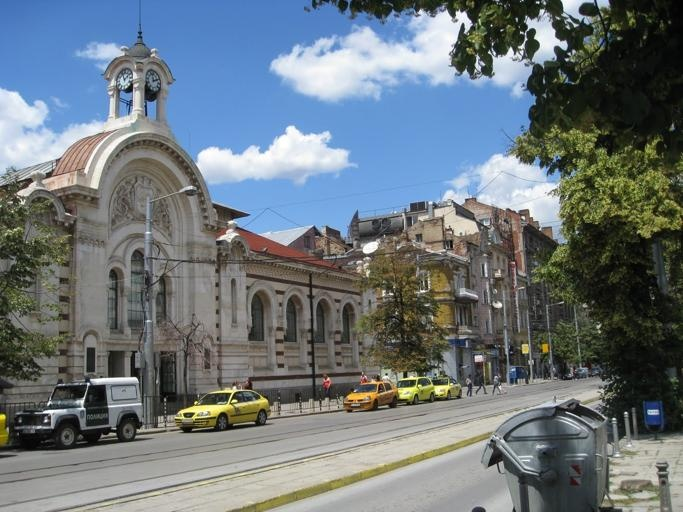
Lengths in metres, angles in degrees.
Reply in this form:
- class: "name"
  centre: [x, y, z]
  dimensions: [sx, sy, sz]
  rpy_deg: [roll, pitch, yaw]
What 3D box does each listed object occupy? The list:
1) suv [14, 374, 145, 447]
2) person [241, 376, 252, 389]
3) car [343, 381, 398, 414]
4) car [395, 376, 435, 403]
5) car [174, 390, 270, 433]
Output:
- class: "suv"
  centre: [-9.267, 5.632, 24.316]
  dimensions: [1.680, 2.447, 4.041]
  rpy_deg: [-12, -16, 34]
- class: "person"
  centre: [-5.814, 7.759, 41.304]
  dimensions: [0.517, 0.491, 1.349]
  rpy_deg: [-6, -12, -12]
- class: "car"
  centre: [1.702, 7.954, 38.489]
  dimensions: [1.938, 1.793, 3.806]
  rpy_deg: [-8, -15, 21]
- class: "car"
  centre: [4.631, 8.509, 42.816]
  dimensions: [1.414, 1.094, 2.248]
  rpy_deg: [-10, -18, 33]
- class: "car"
  centre: [-5.136, 6.710, 29.375]
  dimensions: [1.838, 1.738, 4.129]
  rpy_deg: [-11, -16, 32]
